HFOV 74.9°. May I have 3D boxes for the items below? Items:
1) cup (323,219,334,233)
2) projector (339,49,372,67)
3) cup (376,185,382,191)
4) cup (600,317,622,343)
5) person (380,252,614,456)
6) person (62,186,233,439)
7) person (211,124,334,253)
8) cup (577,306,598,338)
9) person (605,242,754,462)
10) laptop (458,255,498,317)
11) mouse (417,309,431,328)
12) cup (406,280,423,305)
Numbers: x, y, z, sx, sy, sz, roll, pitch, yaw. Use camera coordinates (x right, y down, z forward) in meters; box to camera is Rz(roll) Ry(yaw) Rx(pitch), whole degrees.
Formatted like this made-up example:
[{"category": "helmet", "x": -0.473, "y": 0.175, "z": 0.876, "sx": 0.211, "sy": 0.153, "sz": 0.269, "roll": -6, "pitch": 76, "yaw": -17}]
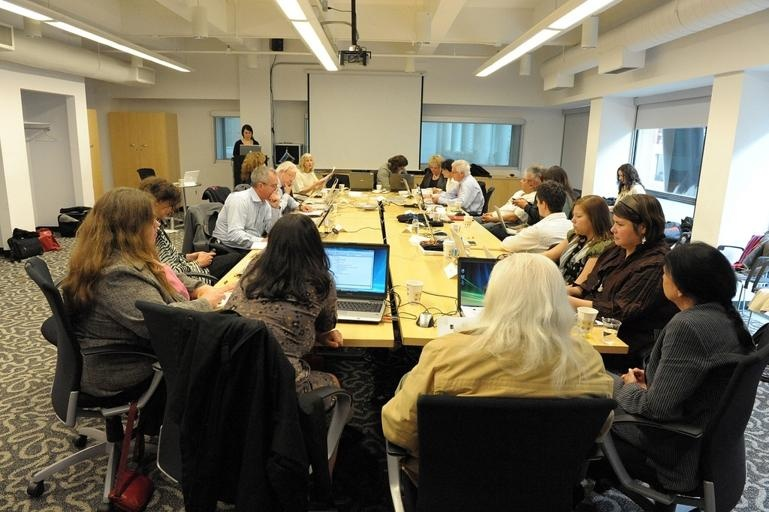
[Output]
[{"category": "cup", "x": -0.618, "y": -0.337, "z": 5.556, "sx": 0.138, "sy": 0.208, "sz": 0.136, "roll": 0, "pitch": -3, "yaw": 0}, {"category": "projector", "x": -0.422, "y": -2.803, "z": 6.983, "sx": 0.402, "sy": 0.245, "sz": 0.664, "roll": 0, "pitch": 11, "yaw": -7}, {"category": "cup", "x": -0.095, "y": -1.294, "z": 9.385, "sx": 0.090, "sy": 0.103, "sz": 0.141, "roll": 0, "pitch": 2, "yaw": 1}, {"category": "cup", "x": 1.466, "y": 0.469, "z": 3.260, "sx": 0.127, "sy": 0.121, "sz": 0.135, "roll": 1, "pitch": 1, "yaw": 0}, {"category": "person", "x": 0.521, "y": 0.348, "z": 2.515, "sx": 1.064, "sy": 1.129, "sz": 0.750, "roll": 2, "pitch": 20, "yaw": 2}, {"category": "person", "x": -1.514, "y": 0.345, "z": 3.098, "sx": 0.771, "sy": 1.513, "sz": 0.531, "roll": -7, "pitch": 13, "yaw": -34}, {"category": "person", "x": -1.350, "y": -0.845, "z": 5.985, "sx": 1.299, "sy": 1.754, "sz": 1.063, "roll": 2, "pitch": 18, "yaw": -17}, {"category": "cup", "x": 1.277, "y": 0.431, "z": 3.217, "sx": 0.156, "sy": 0.160, "sz": 0.159, "roll": 1, "pitch": 3, "yaw": 0}, {"category": "person", "x": 1.568, "y": 0.519, "z": 2.631, "sx": 0.619, "sy": 1.160, "sz": 0.437, "roll": 6, "pitch": 12, "yaw": 26}, {"category": "laptop", "x": 0.612, "y": 0.189, "z": 3.491, "sx": 0.443, "sy": 0.381, "sz": 0.336, "roll": 1, "pitch": 6, "yaw": -2}, {"category": "mouse", "x": 0.267, "y": 0.411, "z": 3.299, "sx": 0.074, "sy": 0.053, "sz": 0.104, "roll": 3, "pitch": 10, "yaw": 7}, {"category": "cup", "x": 0.218, "y": 0.257, "z": 3.630, "sx": 0.148, "sy": 0.152, "sz": 0.146, "roll": 0, "pitch": 7, "yaw": 0}]
